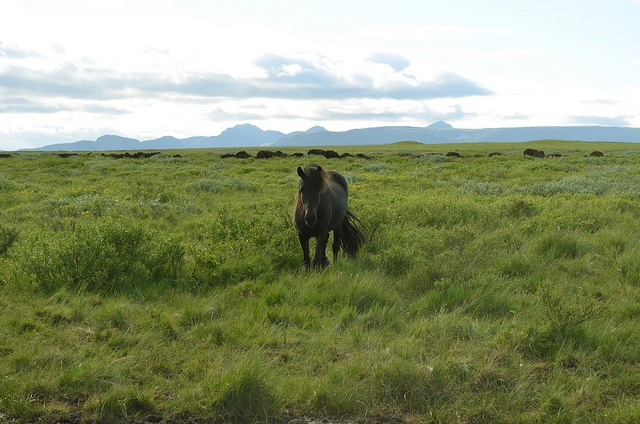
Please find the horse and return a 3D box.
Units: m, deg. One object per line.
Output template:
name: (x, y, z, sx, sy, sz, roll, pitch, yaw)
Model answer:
horse: (0.230, 0.084, 13.235, 1.063, 2.955, 3.085, 4, 12, 24)
